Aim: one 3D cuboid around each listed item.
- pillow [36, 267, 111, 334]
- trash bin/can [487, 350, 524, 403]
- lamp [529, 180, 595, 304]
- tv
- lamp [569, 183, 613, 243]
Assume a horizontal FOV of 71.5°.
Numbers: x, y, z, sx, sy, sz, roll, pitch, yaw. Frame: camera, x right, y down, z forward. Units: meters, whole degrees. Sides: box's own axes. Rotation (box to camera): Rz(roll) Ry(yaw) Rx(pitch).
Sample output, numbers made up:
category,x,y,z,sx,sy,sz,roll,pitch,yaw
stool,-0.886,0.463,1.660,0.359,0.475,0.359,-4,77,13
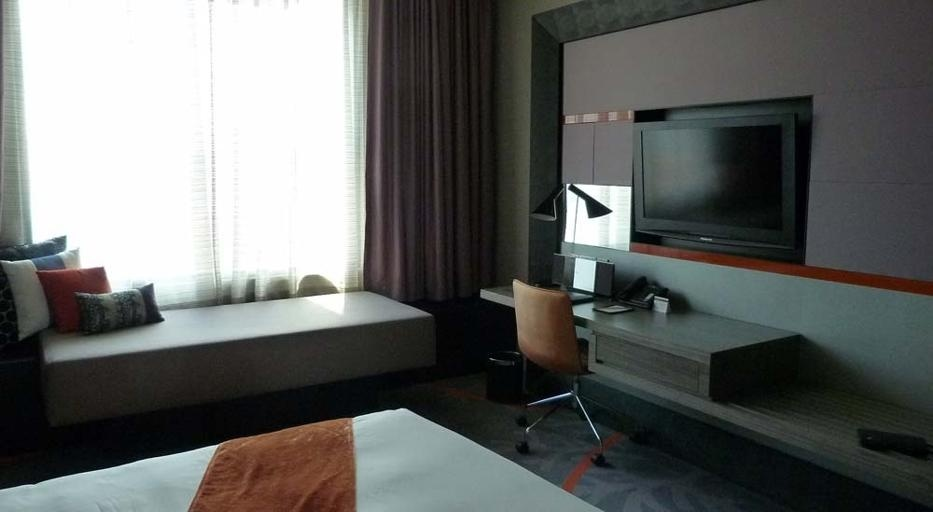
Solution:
category,x,y,z,sx,sy,sz,roll,pitch,yaw
pillow,-2.833,0.338,4.622,0.234,0.351,0.448,12,14,36
trash bin/can,0.289,0.974,5.270,0.386,0.371,0.357,-1,8,-11
lamp,0.878,-0.223,5.185,0.456,0.708,0.440,14,43,29
tv,1.726,-0.517,4.368,1.066,0.704,0.120,7,15,43
lamp,0.963,-0.319,5.027,0.335,0.471,0.415,0,12,10
